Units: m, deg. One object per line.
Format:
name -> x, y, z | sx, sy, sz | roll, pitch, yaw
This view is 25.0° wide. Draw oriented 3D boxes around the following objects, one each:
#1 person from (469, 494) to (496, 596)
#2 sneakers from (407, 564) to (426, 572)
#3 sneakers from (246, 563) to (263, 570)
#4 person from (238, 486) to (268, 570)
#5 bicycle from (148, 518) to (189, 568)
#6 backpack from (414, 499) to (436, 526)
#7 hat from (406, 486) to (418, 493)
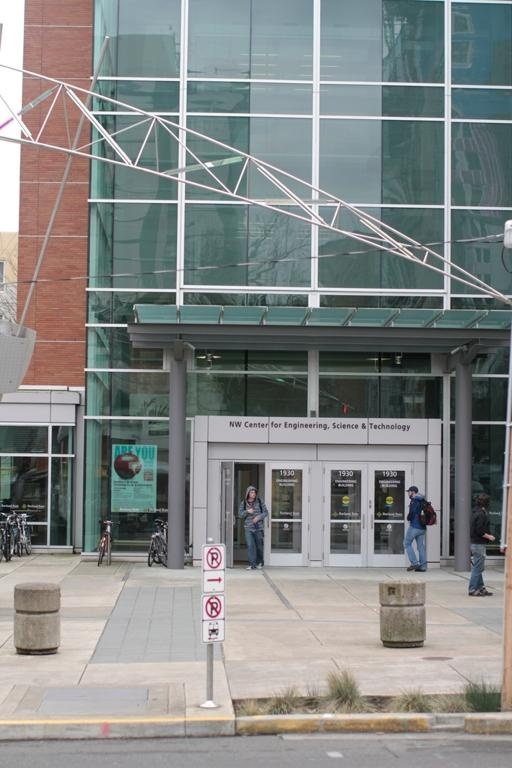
person -> 3.556, 2.538, 18.299 | 0.401, 1.609, 1.745 | -2, -5, 11
sneakers -> 3.118, 3.538, 22.274 | 0.362, 0.170, 0.136 | -1, -5, 38
sneakers -> 0.011, 3.501, 22.262 | 0.349, 0.164, 0.118 | 9, -10, -32
person -> -0.036, 2.740, 22.082 | 0.515, 1.565, 0.816 | -1, -5, 0
bicycle -> -1.764, 3.147, 22.737 | 0.484, 0.746, 1.218 | 0, -20, -3
backpack -> 3.176, 2.334, 21.694 | 0.392, 0.680, 0.505 | -3, 0, 2
hat -> 2.924, 1.963, 21.627 | 0.179, 0.105, 0.124 | 7, 3, 16
